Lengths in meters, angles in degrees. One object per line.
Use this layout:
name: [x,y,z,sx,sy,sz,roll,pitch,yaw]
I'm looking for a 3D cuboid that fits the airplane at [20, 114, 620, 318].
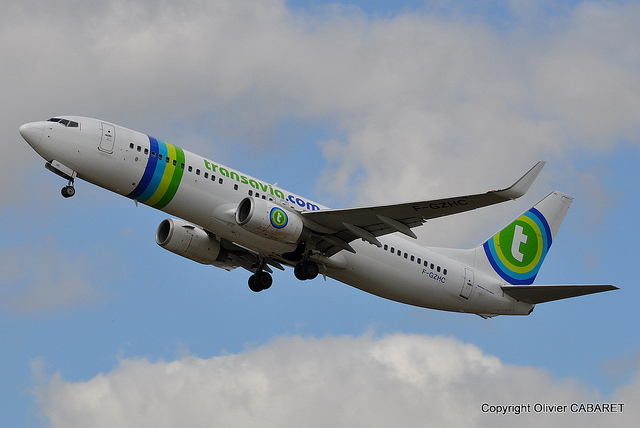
airplane: [0.211,0.522,42.096,20.964,6.659,6.626,7,-2,-1]
